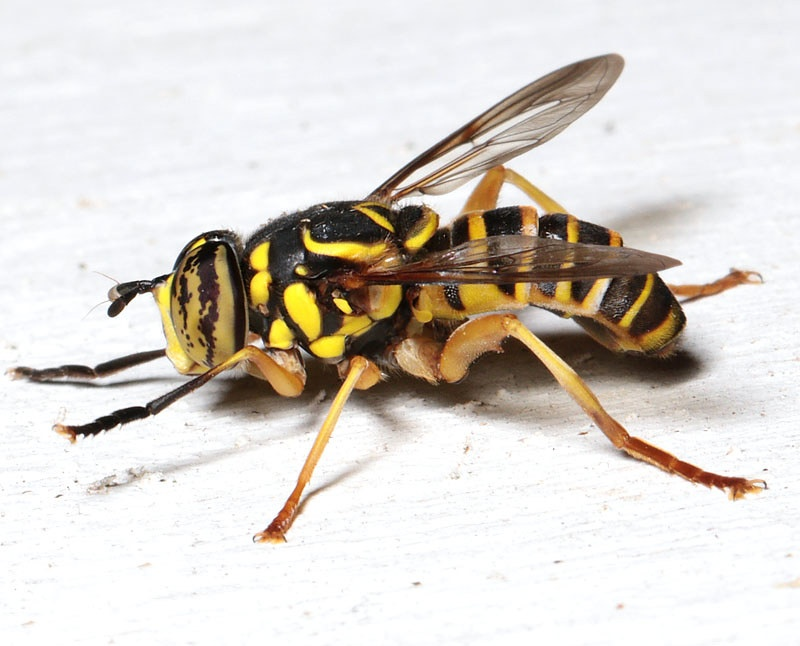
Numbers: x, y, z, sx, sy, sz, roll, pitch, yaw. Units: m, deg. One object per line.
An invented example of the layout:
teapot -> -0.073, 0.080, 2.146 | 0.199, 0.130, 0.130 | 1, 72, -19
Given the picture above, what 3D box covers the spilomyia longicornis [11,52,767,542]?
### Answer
spilomyia longicornis -> 0.044, -0.130, 2.409 | 1.940, 0.871, 1.166 | -18, 37, -19
